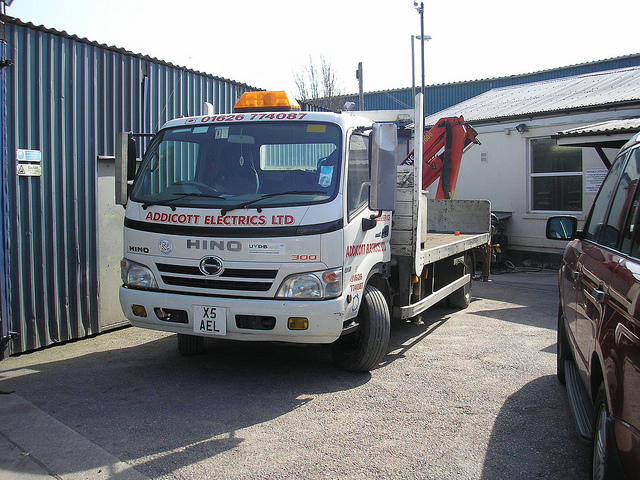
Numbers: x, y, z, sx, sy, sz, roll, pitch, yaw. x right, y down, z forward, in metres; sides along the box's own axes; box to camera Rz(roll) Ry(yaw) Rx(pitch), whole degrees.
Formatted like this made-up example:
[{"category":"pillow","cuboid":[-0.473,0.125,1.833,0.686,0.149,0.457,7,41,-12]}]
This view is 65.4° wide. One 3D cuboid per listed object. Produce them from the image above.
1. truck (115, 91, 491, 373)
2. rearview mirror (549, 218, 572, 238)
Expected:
[{"category":"truck","cuboid":[0.167,0.073,7.117,2.320,2.654,4.671,-1,-2,23]},{"category":"rearview mirror","cuboid":[2.399,-0.129,4.954,0.155,0.197,0.024,0,-1,16]}]
